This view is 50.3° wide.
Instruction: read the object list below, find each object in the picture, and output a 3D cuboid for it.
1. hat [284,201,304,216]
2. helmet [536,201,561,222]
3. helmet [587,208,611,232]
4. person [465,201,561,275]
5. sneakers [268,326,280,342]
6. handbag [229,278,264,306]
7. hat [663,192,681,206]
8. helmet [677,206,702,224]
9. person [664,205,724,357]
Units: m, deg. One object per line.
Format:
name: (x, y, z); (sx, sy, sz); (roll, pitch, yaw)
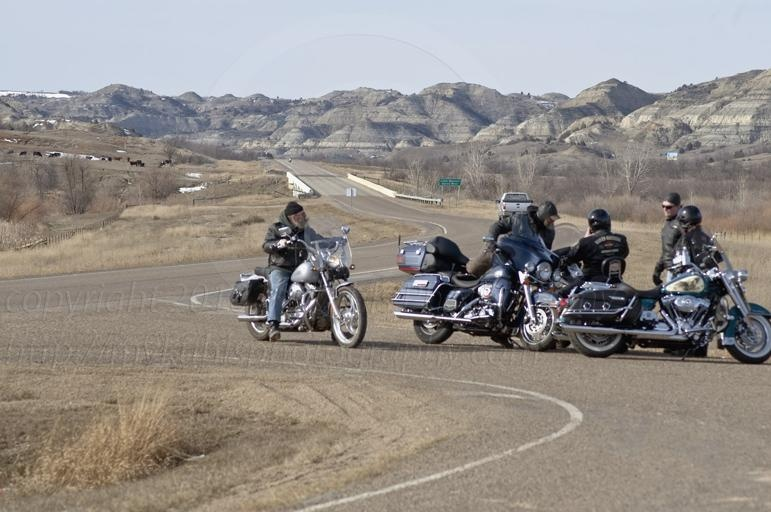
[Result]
hat: (-1.972, -0.975, 17.457); (0.327, 0.216, 0.339); (-12, 14, 5)
helmet: (3.502, -1.006, 17.989); (0.355, 0.310, 0.485); (-13, 21, -32)
helmet: (4.527, -0.796, 17.527); (0.399, 0.523, 0.517); (1, 9, 0)
person: (2.686, -0.530, 18.061); (1.169, 1.414, 2.363); (15, -12, -28)
sneakers: (-2.413, 1.650, 17.687); (0.171, 0.210, 0.457); (4, 26, -33)
handbag: (-3.147, 0.810, 18.628); (0.698, 0.709, 0.449); (8, -19, 33)
hat: (6.241, -1.313, 17.807); (0.243, 0.270, 0.343); (12, 33, 33)
helmet: (6.121, -0.828, 16.505); (0.342, 0.333, 0.414); (-2, 26, -45)
person: (6.176, -0.103, 16.475); (0.938, 2.105, 0.678); (-3, 21, 18)
